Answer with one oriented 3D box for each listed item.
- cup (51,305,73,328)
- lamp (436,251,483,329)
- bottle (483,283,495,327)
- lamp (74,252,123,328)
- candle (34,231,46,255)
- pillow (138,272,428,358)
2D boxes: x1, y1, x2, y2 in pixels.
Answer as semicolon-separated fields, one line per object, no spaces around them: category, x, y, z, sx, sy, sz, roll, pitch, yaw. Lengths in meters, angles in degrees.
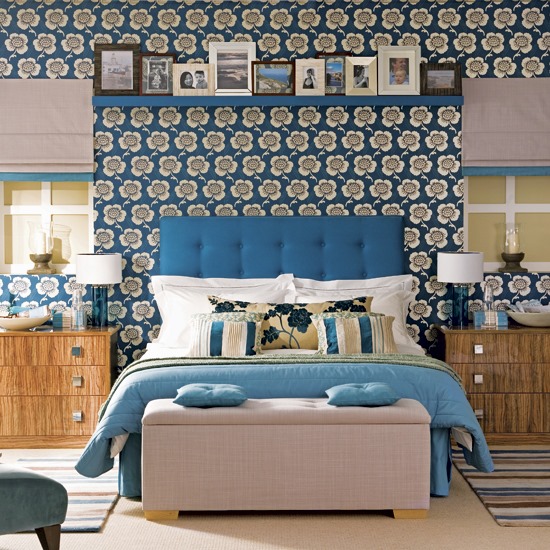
cup;-1.420;0.291;6.521;0.150;0.089;0.198;0;3;-12
lamp;1.234;0.098;6.566;0.274;0.505;0.357;-2;0;-6
bottle;1.429;0.205;6.548;0.079;0.291;0.342;-3;0;11
lamp;-1.178;0.103;6.588;0.294;0.458;0.339;-2;0;-2
candle;-1.630;-0.219;6.770;0.088;0.138;0.031;-2;0;-13
pillow;0.041;0.248;6.334;1.735;0.524;0.715;-2;0;-4
